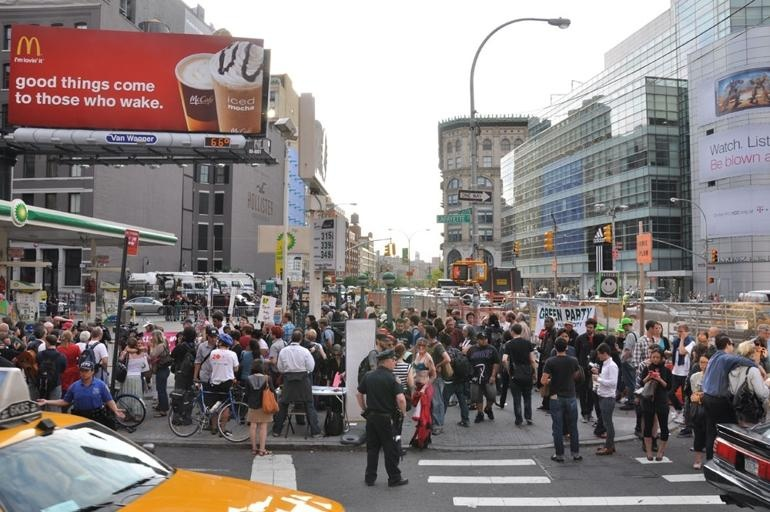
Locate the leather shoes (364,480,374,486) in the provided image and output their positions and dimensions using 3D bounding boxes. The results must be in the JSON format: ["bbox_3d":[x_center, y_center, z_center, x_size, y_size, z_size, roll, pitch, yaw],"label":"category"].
[{"bbox_3d":[-0.524,8.462,32.368,0.337,0.195,0.150,1,8,-5],"label":"leather shoes"}]

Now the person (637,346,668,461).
[{"bbox_3d":[10.406,5.686,33.804,1.181,4.370,1.162,4,9,18],"label":"person"}]

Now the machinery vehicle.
[{"bbox_3d":[-14.587,2.550,67.456,7.845,2.460,2.372,-1,-3,-19],"label":"machinery vehicle"}]

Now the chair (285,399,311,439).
[{"bbox_3d":[-3.479,6.567,35.541,0.890,1.531,1.096,-2,0,4],"label":"chair"}]

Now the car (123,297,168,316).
[{"bbox_3d":[-17.491,3.902,64.141,3.275,1.262,1.499,-1,2,-16],"label":"car"}]

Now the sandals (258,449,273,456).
[{"bbox_3d":[-4.646,7.718,34.025,0.469,0.179,0.235,-3,-1,6],"label":"sandals"}]

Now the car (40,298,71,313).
[{"bbox_3d":[-22.141,3.611,59.410,1.797,0.913,1.218,-4,-1,-6],"label":"car"}]

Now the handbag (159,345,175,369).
[{"bbox_3d":[-8.988,4.274,36.465,0.596,0.956,0.530,2,8,6],"label":"handbag"}]
